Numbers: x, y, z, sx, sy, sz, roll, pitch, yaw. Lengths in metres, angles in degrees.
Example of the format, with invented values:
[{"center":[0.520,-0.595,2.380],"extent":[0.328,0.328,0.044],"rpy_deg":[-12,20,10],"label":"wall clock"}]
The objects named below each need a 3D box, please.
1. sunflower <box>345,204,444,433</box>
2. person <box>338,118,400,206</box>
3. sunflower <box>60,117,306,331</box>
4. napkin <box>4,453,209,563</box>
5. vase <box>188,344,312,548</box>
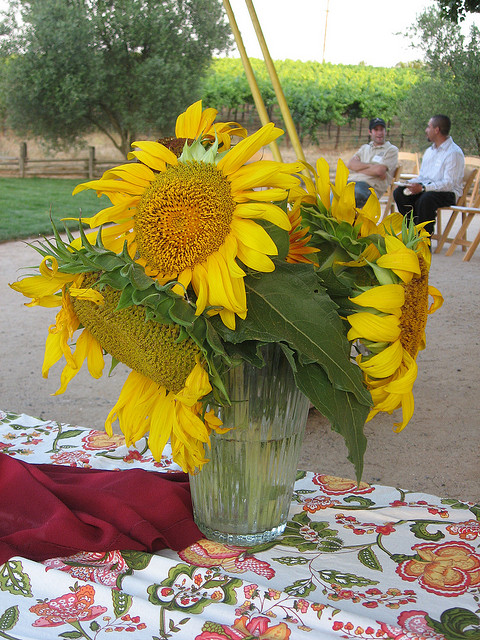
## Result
[{"center":[0.184,0.012,0.760],"extent":[0.095,0.276,0.180],"rpy_deg":[9,19,17],"label":"sunflower"},{"center":[1.397,-1.679,6.670],"extent":[0.482,0.883,1.079],"rpy_deg":[6,17,9],"label":"person"},{"center":[-0.067,-0.107,0.686],"extent":[0.250,0.207,0.123],"rpy_deg":[10,19,24],"label":"sunflower"},{"center":[-0.200,0.269,0.875],"extent":[0.222,0.022,0.140],"rpy_deg":[1,16,1],"label":"napkin"},{"center":[0.039,0.152,0.845],"extent":[0.204,0.296,0.100],"rpy_deg":[-9,23,-34],"label":"vase"}]
